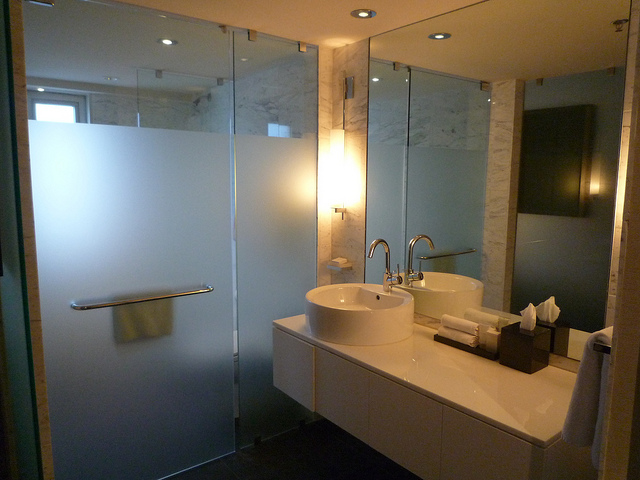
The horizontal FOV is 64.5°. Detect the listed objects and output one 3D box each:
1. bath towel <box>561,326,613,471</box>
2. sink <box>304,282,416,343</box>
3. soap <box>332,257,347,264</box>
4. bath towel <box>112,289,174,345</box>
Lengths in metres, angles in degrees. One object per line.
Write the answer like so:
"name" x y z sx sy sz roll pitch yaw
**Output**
"bath towel" 1.009 0.599 1.925 0.147 0.591 0.316 3 10 27
"sink" 0.245 0.427 2.991 0.637 0.259 0.532 0 9 11
"soap" 0.147 0.151 3.657 0.079 0.028 0.099 -10 12 -44
"bath towel" -1.045 0.459 3.041 0.043 0.366 0.418 -18 -18 38
